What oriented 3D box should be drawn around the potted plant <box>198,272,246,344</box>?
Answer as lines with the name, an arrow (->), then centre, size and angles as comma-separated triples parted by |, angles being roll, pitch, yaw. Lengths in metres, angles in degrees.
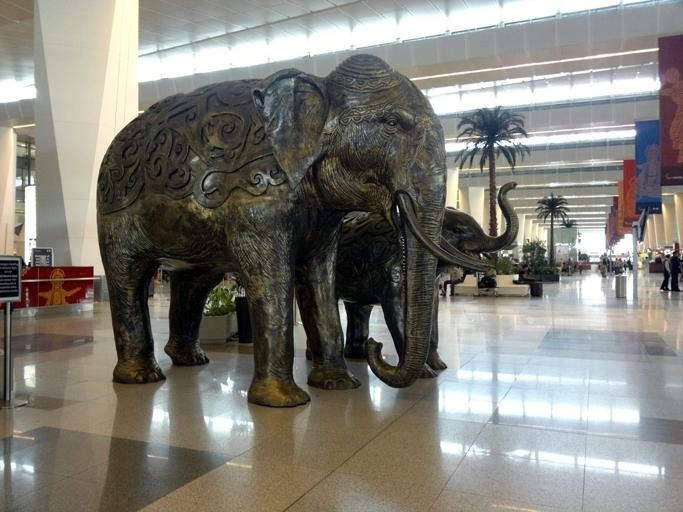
potted plant -> -2.001, 0.954, 8.941 | 0.664, 1.350, 1.277 | 0, -3, 5

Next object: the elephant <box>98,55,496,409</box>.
elephant -> -0.678, -0.213, 5.460 | 3.835, 3.448, 1.941 | 1, 3, 21

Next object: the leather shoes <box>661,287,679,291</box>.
leather shoes -> 14.698, 1.493, 23.307 | 0.197, 0.273, 0.635 | 5, -7, -44

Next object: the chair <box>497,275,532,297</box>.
chair -> 6.676, 1.232, 20.477 | 0.833, 0.712, 0.980 | -1, 0, 18

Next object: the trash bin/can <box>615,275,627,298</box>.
trash bin/can -> 10.021, 1.126, 18.648 | 0.302, 0.743, 0.581 | 1, 5, 31

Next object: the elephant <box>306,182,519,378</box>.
elephant -> 0.774, 0.290, 6.261 | 2.699, 2.285, 0.862 | 2, 7, 36
